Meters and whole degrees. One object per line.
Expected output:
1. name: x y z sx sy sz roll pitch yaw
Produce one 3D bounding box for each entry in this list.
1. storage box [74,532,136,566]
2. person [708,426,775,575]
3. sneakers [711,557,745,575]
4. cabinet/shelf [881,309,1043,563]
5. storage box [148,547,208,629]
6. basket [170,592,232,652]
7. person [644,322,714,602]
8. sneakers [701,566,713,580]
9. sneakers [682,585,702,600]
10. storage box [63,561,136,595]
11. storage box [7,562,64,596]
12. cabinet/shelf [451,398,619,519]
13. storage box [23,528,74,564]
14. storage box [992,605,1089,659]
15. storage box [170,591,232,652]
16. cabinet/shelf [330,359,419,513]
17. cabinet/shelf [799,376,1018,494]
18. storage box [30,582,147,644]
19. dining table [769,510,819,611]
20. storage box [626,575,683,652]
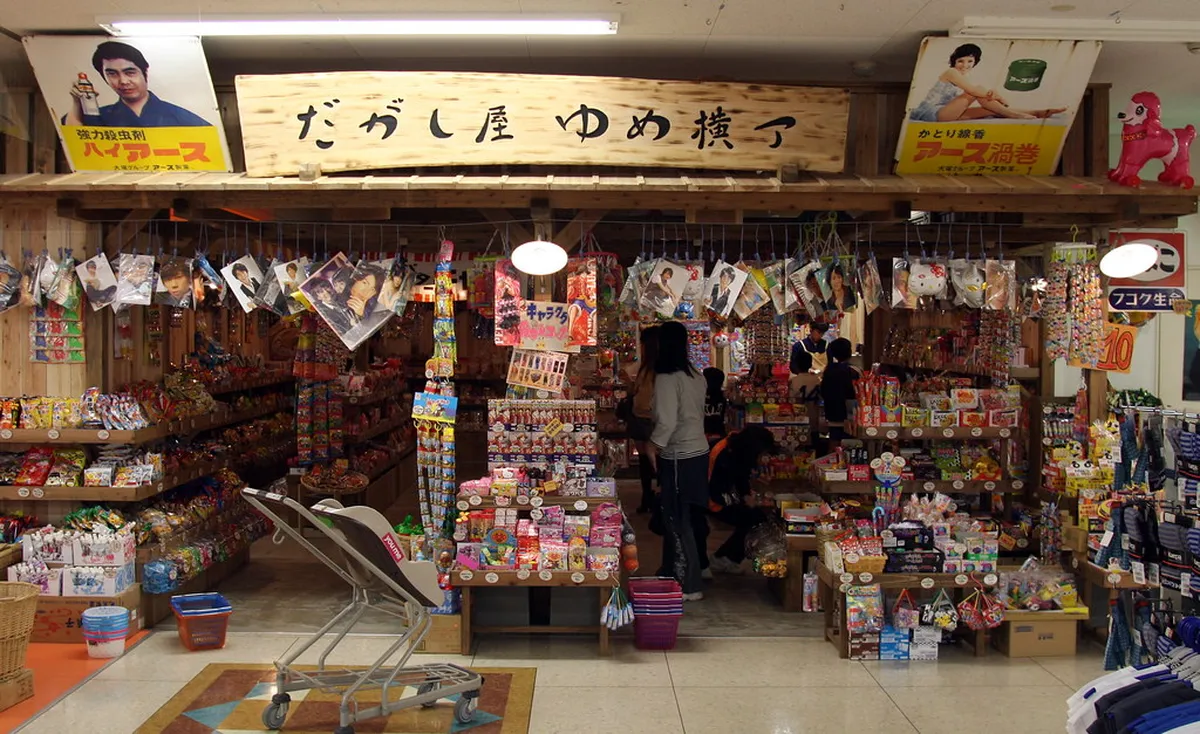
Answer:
1. storage box: -4.540 1.634 8.312 0.367 0.165 0.336 0 0 -1
2. person: 1.482 1.422 9.752 0.589 1.590 0.407 3 14 11
3. sneakers: 1.403 2.161 10.015 0.418 0.157 0.146 3 2 25
4. cabinet/shelf: 3.942 0.774 9.733 1.012 2.500 2.896 -1 0 6
5. storage box: -4.163 2.076 8.858 0.562 0.593 0.953 -1 2 -4
6. basket: -3.613 2.260 8.290 0.585 0.377 0.484 1 0 -31
7. person: 0.783 0.954 9.139 0.612 2.722 0.761 1 14 3
8. sneakers: 1.133 2.178 9.688 0.150 0.126 0.141 8 -13 -43
9. sneakers: 0.928 2.263 9.155 0.104 0.182 0.283 1 5 -14
10. storage box: -4.571 1.931 8.274 0.368 0.153 0.336 0 2 -13
11. storage box: -5.086 1.903 8.261 0.430 0.226 0.390 1 0 -8
12. cabinet/shelf: -0.513 0.849 8.875 1.220 0.680 1.136 0 0 -1
13. storage box: -5.024 1.632 8.312 0.366 0.194 0.340 0 9 -7
14. storage box: 3.944 2.383 8.192 0.752 0.429 0.461 0 -4 -1
15. storage box: -3.551 2.245 8.269 0.495 0.377 0.573 1 0 41
16. cabinet/shelf: -3.078 0.970 12.351 0.494 1.045 2.197 -1 4 -2
17. cabinet/shelf: 3.461 0.709 9.482 1.700 0.621 1.555 -1 2 -7
18. storage box: -4.824 2.250 8.267 0.785 0.299 0.528 0 -1 -6
19. dining table: 1.947 1.931 9.058 0.599 0.638 1.018 -1 5 -2
20. storage box: 0.492 2.223 8.291 0.501 0.423 0.626 0 -3 0
